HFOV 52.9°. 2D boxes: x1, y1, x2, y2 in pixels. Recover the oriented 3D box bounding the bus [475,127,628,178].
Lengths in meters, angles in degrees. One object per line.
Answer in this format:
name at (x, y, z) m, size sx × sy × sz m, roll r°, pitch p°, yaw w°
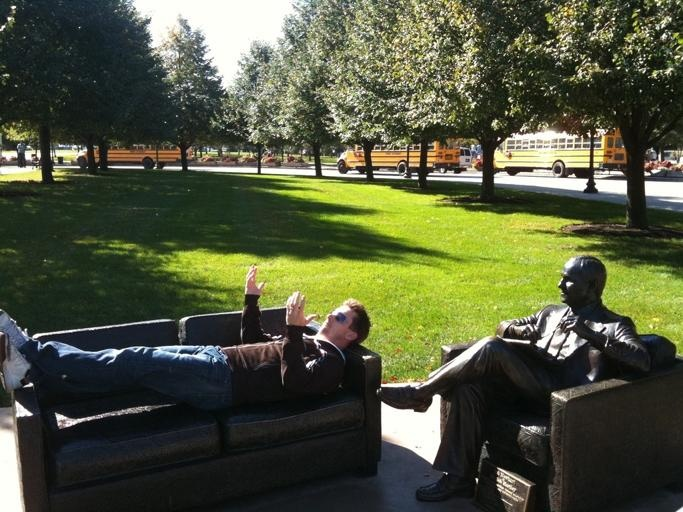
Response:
bus at (13.603, -6.318, 43.389) m, size 2.147 × 3.512 × 10.463 m, roll -4°, pitch 13°, yaw -21°
